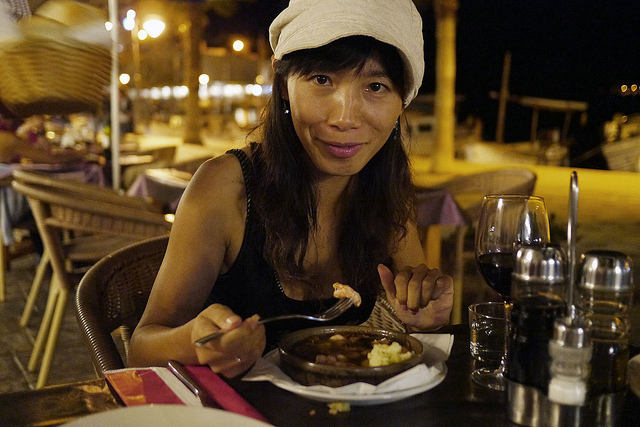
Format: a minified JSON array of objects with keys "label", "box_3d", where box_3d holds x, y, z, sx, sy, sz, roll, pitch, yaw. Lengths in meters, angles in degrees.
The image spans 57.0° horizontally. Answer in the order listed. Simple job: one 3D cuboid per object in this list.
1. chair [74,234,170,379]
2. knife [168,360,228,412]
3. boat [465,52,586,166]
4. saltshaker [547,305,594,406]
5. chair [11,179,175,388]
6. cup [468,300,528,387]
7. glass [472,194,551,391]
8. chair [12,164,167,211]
[{"label":"chair","box_3d":[-0.704,0.291,2.037,0.225,0.274,0.648,1,12,-2]},{"label":"knife","box_3d":[-0.323,0.451,1.491,0.248,0.029,0.080,24,2,7]},{"label":"boat","box_3d":[3.211,-1.618,8.868,1.412,1.671,2.520,7,13,23]},{"label":"saltshaker","box_3d":[0.585,0.335,1.365,0.114,0.214,0.062,4,12,10]},{"label":"chair","box_3d":[-1.388,0.426,3.573,0.980,1.294,1.073,-5,1,-33]},{"label":"cup","box_3d":[0.488,0.363,1.743,0.150,0.187,0.181,6,-8,-16]},{"label":"glass","box_3d":[0.562,0.229,1.752,0.203,0.554,0.225,-1,5,-23]},{"label":"chair","box_3d":[-1.289,-0.160,3.278,1.067,0.113,0.188,2,-28,26]}]
